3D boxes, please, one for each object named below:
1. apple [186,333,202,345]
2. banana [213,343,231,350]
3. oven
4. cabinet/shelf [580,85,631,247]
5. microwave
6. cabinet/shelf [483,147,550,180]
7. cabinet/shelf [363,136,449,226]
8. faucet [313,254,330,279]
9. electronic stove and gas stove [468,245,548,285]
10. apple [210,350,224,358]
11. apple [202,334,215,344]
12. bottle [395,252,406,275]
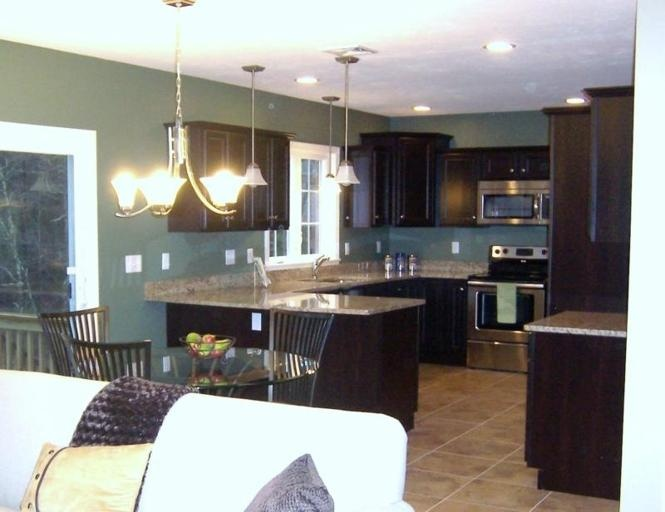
[{"bbox_3d":[-0.782,0.467,3.533,0.069,0.039,0.068,-6,9,-20],"label":"apple"},{"bbox_3d":[-0.617,0.504,3.507,0.033,0.044,0.100,4,7,41],"label":"banana"},{"bbox_3d":[1.865,0.641,6.796,0.834,0.824,0.627,1,3,10],"label":"oven"},{"bbox_3d":[1.438,-0.487,3.289,0.231,0.832,0.315,2,6,22],"label":"cabinet/shelf"},{"bbox_3d":[2.084,-0.669,7.068,0.808,0.544,0.509,3,27,24],"label":"microwave"},{"bbox_3d":[1.982,-1.014,6.856,0.702,0.360,0.173,1,5,11],"label":"cabinet/shelf"},{"bbox_3d":[0.792,-0.877,7.095,0.998,0.995,0.554,0,1,-18],"label":"cabinet/shelf"},{"bbox_3d":[-0.125,0.109,6.696,0.178,0.241,0.422,0,5,1],"label":"faucet"},{"bbox_3d":[1.958,0.077,6.866,0.743,0.340,0.769,1,5,17],"label":"electronic stove and gas stove"},{"bbox_3d":[-0.646,0.550,3.509,0.050,0.021,0.047,-1,0,31],"label":"apple"},{"bbox_3d":[-0.704,0.469,3.533,0.053,0.067,0.055,5,10,-8],"label":"apple"},{"bbox_3d":[0.808,0.080,7.438,0.125,0.214,0.401,0,5,5],"label":"bottle"}]
